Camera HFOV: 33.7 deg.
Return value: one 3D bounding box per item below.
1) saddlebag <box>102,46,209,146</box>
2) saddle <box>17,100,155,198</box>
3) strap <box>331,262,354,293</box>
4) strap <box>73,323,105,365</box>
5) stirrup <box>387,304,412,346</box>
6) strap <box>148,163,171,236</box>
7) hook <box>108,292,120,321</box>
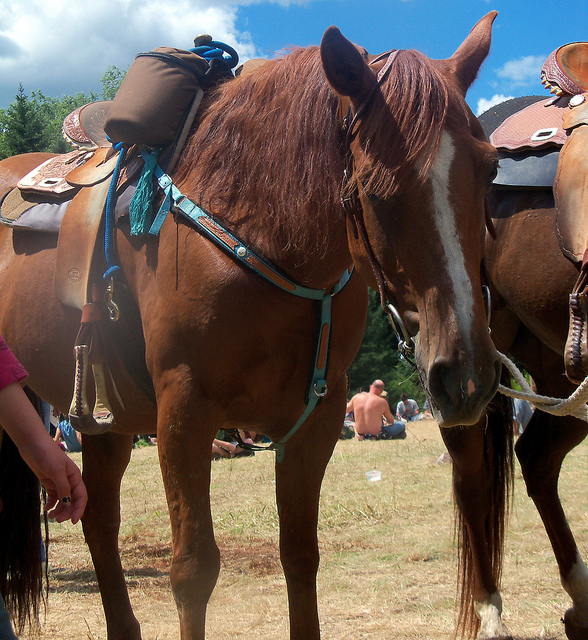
[{"bbox_3d":[-0.478,-0.707,3.279,0.283,0.244,0.449,7,50,6],"label":"saddlebag"},{"bbox_3d":[-0.755,-0.656,3.694,0.420,0.202,0.601,-3,39,34],"label":"saddle"},{"bbox_3d":[0.158,-0.130,3.147,0.018,0.086,0.082,29,-12,-12],"label":"strap"},{"bbox_3d":[-0.669,0.077,3.180,0.067,0.199,0.093,-8,-14,33],"label":"strap"},{"bbox_3d":[0.296,0.007,2.802,0.060,0.148,0.167,-5,14,1],"label":"stirrup"},{"bbox_3d":[-0.422,-0.378,3.108,0.043,0.188,0.096,-3,-24,43],"label":"strap"},{"bbox_3d":[-0.583,-0.047,3.137,0.057,0.119,0.014,-14,-16,35],"label":"hook"}]
